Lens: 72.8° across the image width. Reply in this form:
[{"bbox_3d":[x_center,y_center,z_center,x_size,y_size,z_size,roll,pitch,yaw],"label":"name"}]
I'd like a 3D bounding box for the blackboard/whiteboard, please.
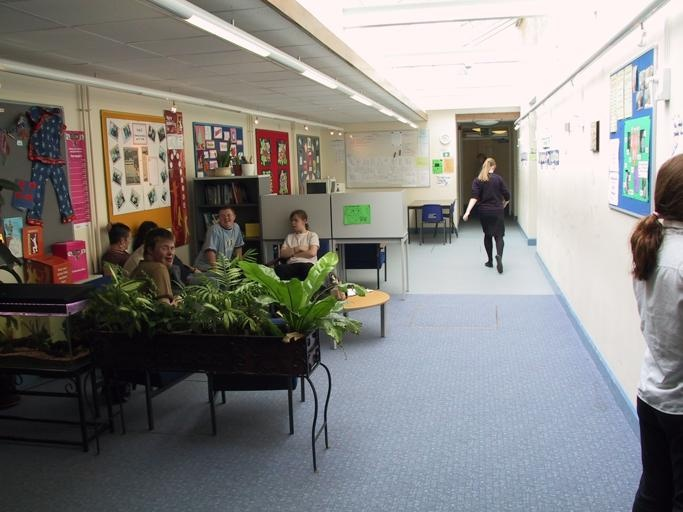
[{"bbox_3d":[1.564,-3.192,14.750,2.002,1.437,0.050,1,9,15],"label":"blackboard/whiteboard"}]

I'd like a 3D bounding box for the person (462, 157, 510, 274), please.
[{"bbox_3d":[3.014,-0.887,9.506,0.706,2.207,1.463,1,11,20],"label":"person"}]

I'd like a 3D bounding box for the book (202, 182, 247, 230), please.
[{"bbox_3d":[-2.135,-0.946,8.416,0.871,0.878,0.331,3,11,7],"label":"book"}]

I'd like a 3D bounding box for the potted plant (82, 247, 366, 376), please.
[{"bbox_3d":[-0.813,0.368,3.547,1.937,0.771,0.894,1,-10,10],"label":"potted plant"}]

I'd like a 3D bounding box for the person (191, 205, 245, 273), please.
[{"bbox_3d":[-1.822,-0.196,7.203,0.652,1.075,0.760,21,17,24],"label":"person"}]

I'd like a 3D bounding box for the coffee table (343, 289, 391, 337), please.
[{"bbox_3d":[0.284,0.636,5.830,0.637,0.300,0.631,-11,16,-34],"label":"coffee table"}]

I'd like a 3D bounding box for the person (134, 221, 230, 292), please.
[{"bbox_3d":[-1.890,-0.023,5.520,0.479,1.069,0.699,23,36,35],"label":"person"}]

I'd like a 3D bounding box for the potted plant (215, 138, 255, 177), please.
[{"bbox_3d":[-2.044,-1.795,8.932,0.915,0.822,0.427,1,4,-6],"label":"potted plant"}]

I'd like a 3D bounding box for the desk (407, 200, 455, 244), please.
[{"bbox_3d":[2.616,-1.059,13.151,1.106,1.001,1.503,0,4,8],"label":"desk"}]

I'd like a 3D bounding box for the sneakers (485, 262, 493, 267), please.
[{"bbox_3d":[3.041,0.173,9.609,0.075,0.151,0.148,-9,15,-43],"label":"sneakers"}]

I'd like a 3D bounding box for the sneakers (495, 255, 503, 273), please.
[{"bbox_3d":[3.109,0.165,9.052,0.116,0.377,0.147,-8,-3,4],"label":"sneakers"}]
